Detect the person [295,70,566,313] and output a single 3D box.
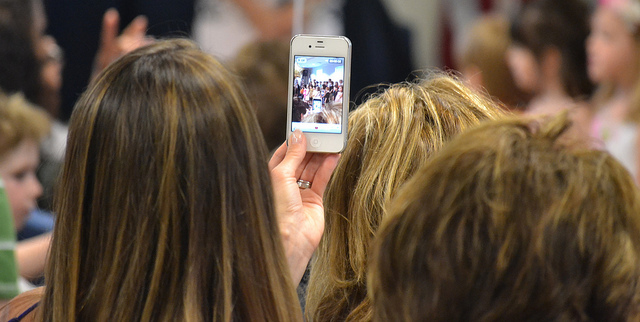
[{"bbox_3d":[0.503,0.103,4.945,1.218,1.276,1.383,-13,10,-32],"label":"person"}]
